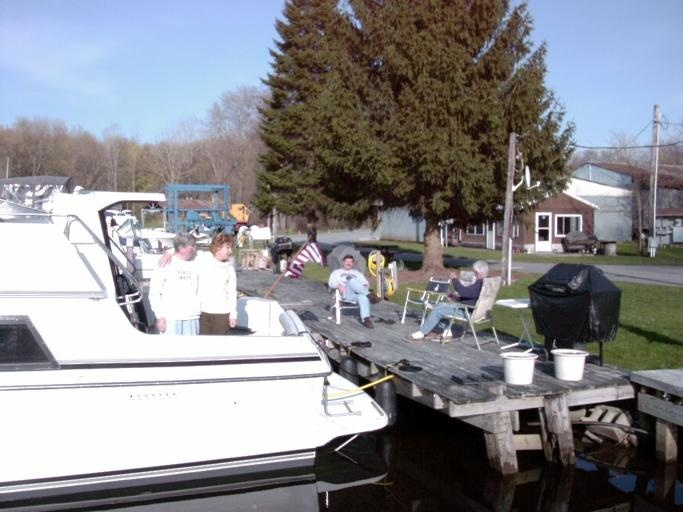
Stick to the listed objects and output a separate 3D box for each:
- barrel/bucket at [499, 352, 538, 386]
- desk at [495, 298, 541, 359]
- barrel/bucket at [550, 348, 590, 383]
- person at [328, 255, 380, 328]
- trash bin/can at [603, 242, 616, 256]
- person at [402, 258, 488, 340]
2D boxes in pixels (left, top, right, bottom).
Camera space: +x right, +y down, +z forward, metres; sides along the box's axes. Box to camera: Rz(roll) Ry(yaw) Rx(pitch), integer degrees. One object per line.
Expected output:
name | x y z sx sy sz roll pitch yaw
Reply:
barrel/bucket | 2.257 1.425 8.311 0.393 0.316 0.374 -1 0 0
desk | 2.885 1.110 10.287 0.939 1.057 1.013 0 1 10
barrel/bucket | 2.979 1.409 8.445 0.354 0.297 0.383 1 2 0
person | 0.260 0.544 11.553 0.638 0.960 1.511 0 14 -20
trash bin/can | 12.034 -0.343 28.883 0.493 0.748 0.703 -1 3 -6
person | 1.788 0.703 10.356 1.053 1.272 1.010 4 8 20
